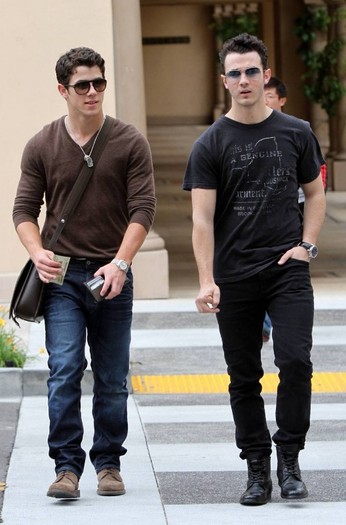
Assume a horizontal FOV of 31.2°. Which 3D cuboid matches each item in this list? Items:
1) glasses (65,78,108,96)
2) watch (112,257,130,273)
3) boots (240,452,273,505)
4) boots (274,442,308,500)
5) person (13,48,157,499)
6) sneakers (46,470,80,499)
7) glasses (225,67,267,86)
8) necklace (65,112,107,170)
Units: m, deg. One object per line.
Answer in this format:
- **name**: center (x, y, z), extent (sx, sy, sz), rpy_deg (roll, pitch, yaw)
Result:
- **glasses**: center (-0.326, -0.691, 2.428), extent (0.098, 0.037, 0.116), rpy_deg (-10, 7, -24)
- **watch**: center (-0.197, 0.005, 2.397), extent (0.072, 0.040, 0.066), rpy_deg (27, -4, -32)
- **boots**: center (0.318, 0.833, 2.375), extent (0.099, 0.162, 0.250), rpy_deg (-8, -13, 20)
- **boots**: center (0.452, 0.787, 2.358), extent (0.103, 0.161, 0.260), rpy_deg (-1, -4, 3)
- **person**: center (-0.350, 0.044, 2.545), extent (0.454, 1.812, 0.530), rpy_deg (2, -3, -34)
- **sneakers**: center (-0.413, 0.843, 2.318), extent (0.106, 0.116, 0.111), rpy_deg (0, -2, -6)
- **glasses**: center (0.273, -0.726, 2.399), extent (0.127, 0.060, 0.043), rpy_deg (0, -2, 9)
- **necklace**: center (-0.364, -0.491, 2.517), extent (0.180, 0.243, 0.174), rpy_deg (0, -2, 1)
